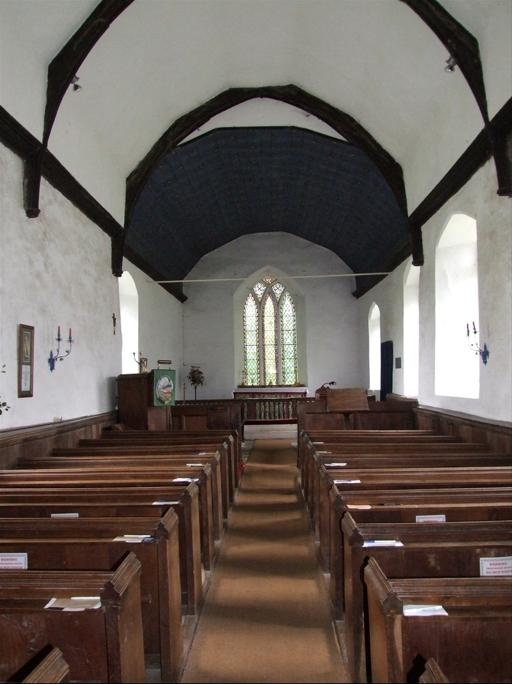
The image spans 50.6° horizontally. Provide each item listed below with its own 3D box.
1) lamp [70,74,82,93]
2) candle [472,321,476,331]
[{"bbox_3d":[-1.883,-2.677,5.622,0.099,0.145,0.117,-2,-5,1],"label":"lamp"},{"bbox_3d":[2.700,-0.197,6.731,0.026,0.119,0.027,5,-11,-10],"label":"candle"}]
